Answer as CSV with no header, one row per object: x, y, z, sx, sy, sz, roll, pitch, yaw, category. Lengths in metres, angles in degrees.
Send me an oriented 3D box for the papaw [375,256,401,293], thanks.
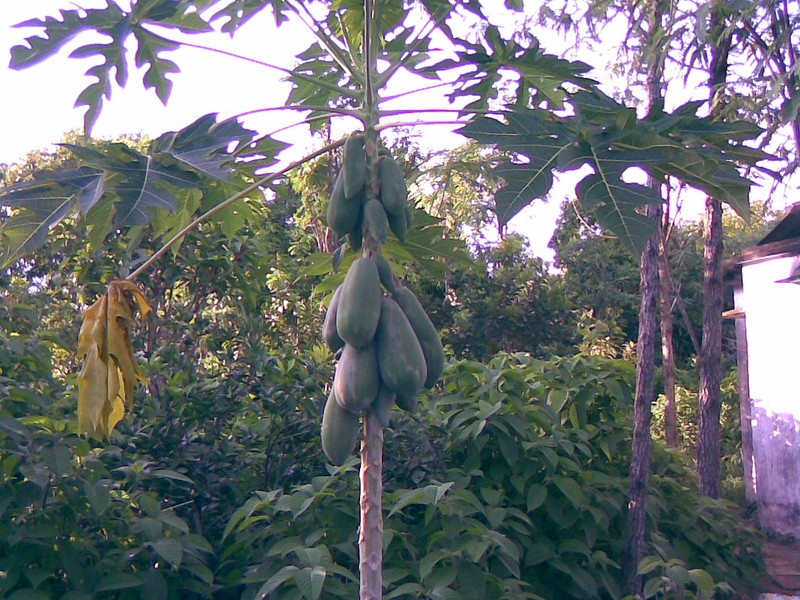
-0.065,-0.115,3.643,0.060,0.175,0.095,-19,-31,9,papaw

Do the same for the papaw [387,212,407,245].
-0.007,-0.353,3.713,0.080,0.142,0.046,-34,28,-30,papaw

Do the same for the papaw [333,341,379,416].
-0.207,0.363,3.515,0.167,0.330,0.158,-3,-32,4,papaw

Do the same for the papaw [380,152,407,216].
-0.042,-0.558,3.655,0.143,0.267,0.097,-14,6,0,papaw

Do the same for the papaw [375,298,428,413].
-0.005,0.249,3.626,0.208,0.463,0.196,-14,-7,-3,papaw

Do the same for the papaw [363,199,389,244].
-0.120,-0.374,3.619,0.115,0.201,0.107,-3,-44,-6,papaw

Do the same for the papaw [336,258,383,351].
-0.185,0.018,3.629,0.195,0.408,0.193,11,-14,-22,papaw

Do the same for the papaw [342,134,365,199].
-0.222,-0.660,3.673,0.121,0.339,0.104,9,-22,-6,papaw

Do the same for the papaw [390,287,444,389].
0.093,0.177,3.638,0.251,0.463,0.120,3,-15,-17,papaw
